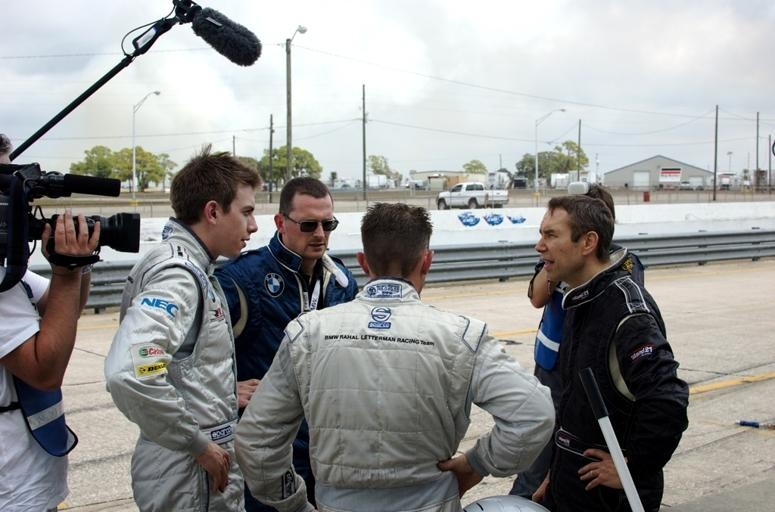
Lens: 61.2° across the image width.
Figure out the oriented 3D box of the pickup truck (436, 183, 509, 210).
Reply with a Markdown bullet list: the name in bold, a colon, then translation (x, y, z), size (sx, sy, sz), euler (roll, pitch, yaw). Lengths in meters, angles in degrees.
- **pickup truck**: translation (5.694, -4.506, 43.816), size (4.687, 1.897, 2.627), euler (1, 1, 8)
